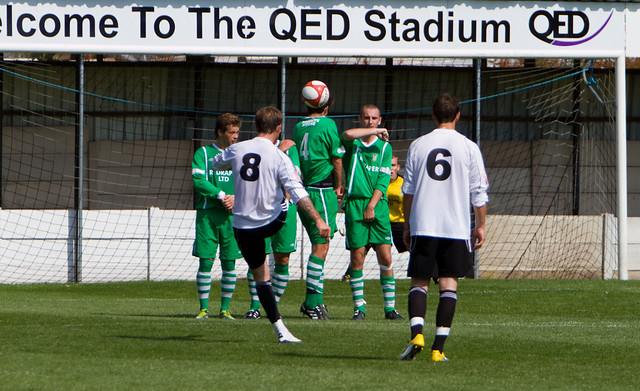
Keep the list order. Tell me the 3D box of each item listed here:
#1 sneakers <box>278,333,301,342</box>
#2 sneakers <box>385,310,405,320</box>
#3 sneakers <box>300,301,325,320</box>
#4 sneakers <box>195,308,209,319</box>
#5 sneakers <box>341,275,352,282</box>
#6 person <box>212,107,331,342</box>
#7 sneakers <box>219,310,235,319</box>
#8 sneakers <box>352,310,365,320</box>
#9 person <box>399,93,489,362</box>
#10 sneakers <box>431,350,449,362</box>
[{"bbox_3d":[-0.489,2.224,17.340,0.261,0.103,0.155,-1,0,3],"label":"sneakers"},{"bbox_3d":[1.293,2.070,19.083,0.367,0.156,0.131,-1,-2,17],"label":"sneakers"},{"bbox_3d":[-0.132,1.997,19.049,0.480,0.180,0.232,10,-43,12],"label":"sneakers"},{"bbox_3d":[-2.039,2.039,18.996,0.098,0.114,0.265,0,-5,14],"label":"sneakers"},{"bbox_3d":[0.532,1.743,23.052,0.140,0.186,0.439,2,-16,-12],"label":"sneakers"},{"bbox_3d":[-0.878,0.445,17.396,1.549,3.686,0.537,1,-2,-3],"label":"person"},{"bbox_3d":[-1.604,2.046,19.015,0.233,0.092,0.125,-1,-4,38],"label":"sneakers"},{"bbox_3d":[0.647,2.063,18.979,0.141,0.181,0.138,-15,11,-41],"label":"sneakers"},{"bbox_3d":[1.947,0.491,17.320,1.371,4.270,0.987,1,-9,15],"label":"person"},{"bbox_3d":[1.793,2.438,16.882,0.141,0.117,0.277,5,2,35],"label":"sneakers"}]
